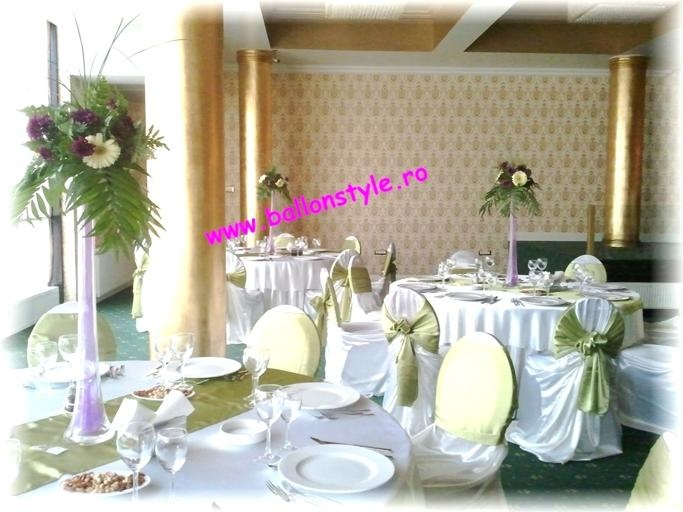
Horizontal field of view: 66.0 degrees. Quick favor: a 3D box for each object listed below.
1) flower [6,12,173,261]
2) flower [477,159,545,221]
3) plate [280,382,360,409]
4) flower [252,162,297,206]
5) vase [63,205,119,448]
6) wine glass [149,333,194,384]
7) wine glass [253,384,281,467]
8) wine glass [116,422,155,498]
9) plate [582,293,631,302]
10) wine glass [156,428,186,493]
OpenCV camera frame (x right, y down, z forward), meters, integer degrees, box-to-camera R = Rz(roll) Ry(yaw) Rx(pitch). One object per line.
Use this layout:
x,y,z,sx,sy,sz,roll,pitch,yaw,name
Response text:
-0.845,-0.407,1.826,0.505,0.605,0.520,5,16,6,flower
1.267,-0.488,3.926,0.381,0.426,0.504,5,12,15,flower
-0.057,0.536,2.012,0.186,0.020,0.180,-2,7,-29,plate
-0.946,-0.946,7.168,0.624,0.355,0.608,0,2,-5,flower
-0.867,0.233,1.748,0.143,0.706,0.322,-5,14,-27,vase
-0.687,0.393,2.125,0.135,0.228,0.263,-4,13,-23,wine glass
-0.236,0.509,1.697,0.080,0.211,0.293,0,12,-8,wine glass
-0.567,0.539,1.451,0.088,0.215,0.157,-4,13,-24,wine glass
1.890,0.288,3.676,0.155,0.021,0.147,-3,1,-9,plate
-0.472,0.549,1.459,0.075,0.206,0.185,-3,13,-20,wine glass
